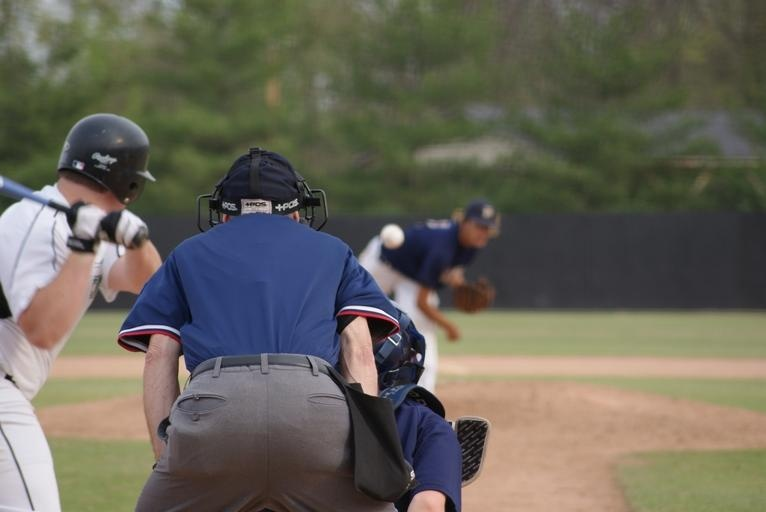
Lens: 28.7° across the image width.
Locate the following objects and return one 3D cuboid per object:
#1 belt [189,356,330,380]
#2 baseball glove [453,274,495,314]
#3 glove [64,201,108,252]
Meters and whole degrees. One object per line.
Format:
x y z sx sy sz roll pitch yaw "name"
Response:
-1.501 1.370 18.937 1.792 0.293 0.107 -1 10 -1 "belt"
1.454 0.560 22.873 0.538 0.340 0.619 -7 25 14 "baseball glove"
-3.814 -0.376 19.255 0.570 0.573 0.530 -15 40 -33 "glove"
